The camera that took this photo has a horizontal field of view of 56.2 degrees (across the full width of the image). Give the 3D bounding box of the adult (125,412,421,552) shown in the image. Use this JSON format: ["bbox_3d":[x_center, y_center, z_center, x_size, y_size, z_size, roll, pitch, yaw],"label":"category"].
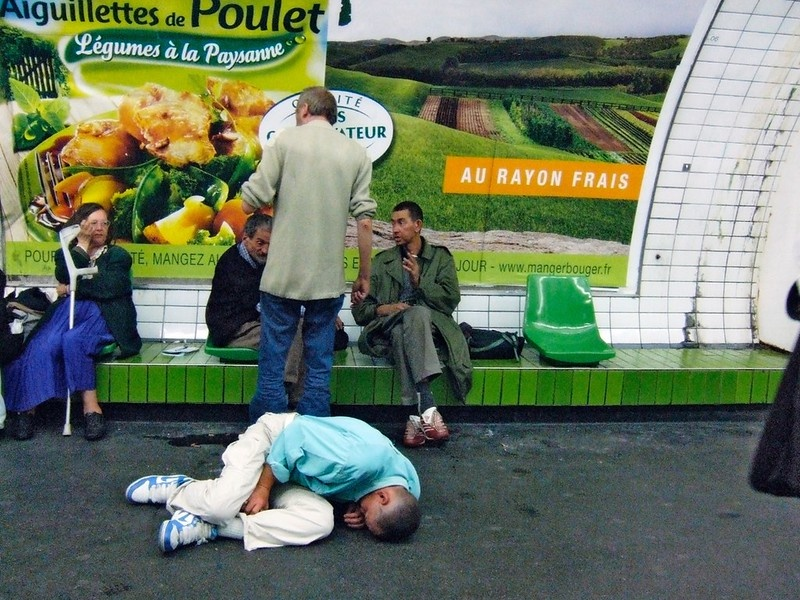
[{"bbox_3d":[-0.736,1.009,4.470,1.593,0.724,0.921,6,15,-15],"label":"adult"}]

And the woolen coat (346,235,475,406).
[{"bbox_3d":[0.085,0.096,5.543,0.870,0.837,1.804,-1,23,-10],"label":"woolen coat"}]

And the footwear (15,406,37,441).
[{"bbox_3d":[-2.597,0.856,5.150,0.130,0.163,0.176,-5,19,-23],"label":"footwear"}]

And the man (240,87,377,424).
[{"bbox_3d":[-0.620,-0.296,5.019,0.873,2.231,0.657,6,9,-1],"label":"man"}]

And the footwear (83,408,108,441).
[{"bbox_3d":[-2.121,0.877,5.176,0.102,0.103,0.227,-4,12,-21],"label":"footwear"}]

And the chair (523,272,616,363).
[{"bbox_3d":[1.329,0.155,5.896,0.604,0.652,0.708,1,8,2],"label":"chair"}]

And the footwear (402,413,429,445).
[{"bbox_3d":[0.105,0.950,5.419,0.120,0.235,0.099,3,-27,3],"label":"footwear"}]

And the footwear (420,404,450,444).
[{"bbox_3d":[0.239,0.888,5.387,0.154,0.277,0.123,-21,-8,-10],"label":"footwear"}]

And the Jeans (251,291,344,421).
[{"bbox_3d":[-0.659,0.238,4.862,0.550,1.216,0.332,4,38,-10],"label":"Jeans"}]

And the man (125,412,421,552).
[{"bbox_3d":[-0.662,0.974,4.457,1.502,0.744,0.954,7,12,-12],"label":"man"}]

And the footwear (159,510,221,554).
[{"bbox_3d":[-1.193,1.270,4.155,0.192,0.145,0.397,-7,2,30],"label":"footwear"}]

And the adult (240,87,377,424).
[{"bbox_3d":[-0.637,-0.298,5.027,0.850,2.219,0.669,6,9,-1],"label":"adult"}]

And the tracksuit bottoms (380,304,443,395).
[{"bbox_3d":[0.093,0.394,5.466,0.251,0.659,0.442,-6,19,-24],"label":"tracksuit bottoms"}]

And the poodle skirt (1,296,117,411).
[{"bbox_3d":[-2.420,0.387,5.297,0.729,0.682,0.433,-5,19,-21],"label":"poodle skirt"}]

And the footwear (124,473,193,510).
[{"bbox_3d":[-1.444,1.103,4.501,0.469,0.184,0.192,-3,9,-14],"label":"footwear"}]
